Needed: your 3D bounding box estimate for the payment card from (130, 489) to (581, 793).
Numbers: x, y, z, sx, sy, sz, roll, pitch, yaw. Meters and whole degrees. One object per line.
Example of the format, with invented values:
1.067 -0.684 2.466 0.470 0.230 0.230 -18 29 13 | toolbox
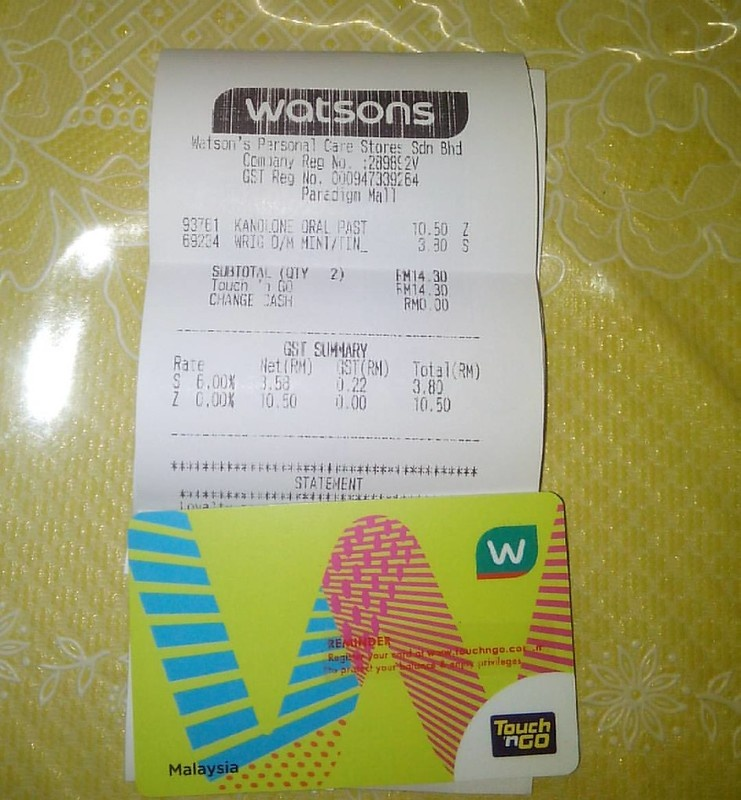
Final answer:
-0.019 0.196 0.639 0.300 0.003 0.213 -1 87 1 | payment card
